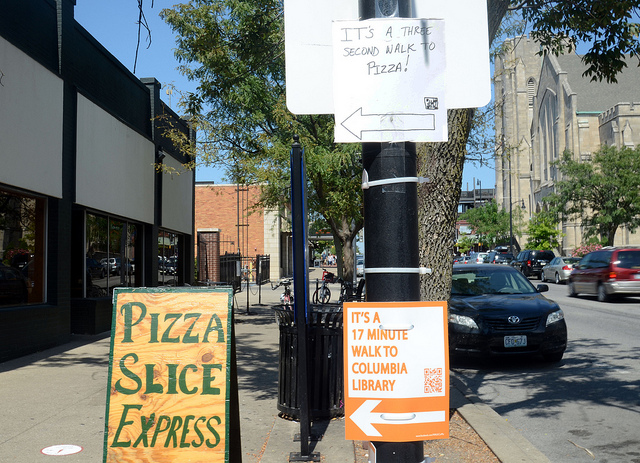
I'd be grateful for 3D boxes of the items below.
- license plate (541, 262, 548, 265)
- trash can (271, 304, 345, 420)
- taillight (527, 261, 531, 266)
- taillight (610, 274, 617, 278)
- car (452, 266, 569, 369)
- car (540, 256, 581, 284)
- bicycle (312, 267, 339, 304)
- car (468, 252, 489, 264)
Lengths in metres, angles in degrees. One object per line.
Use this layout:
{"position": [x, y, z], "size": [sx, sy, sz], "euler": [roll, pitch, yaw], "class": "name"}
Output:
{"position": [12.542, 1.850, 36.581], "size": [0.330, 0.098, 0.207], "euler": [0, -42, 9], "class": "license plate"}
{"position": [-0.142, 1.670, 8.308], "size": [0.861, 1.513, 0.765], "euler": [-1, -3, -2], "class": "trash can"}
{"position": [11.791, 1.815, 36.889], "size": [0.085, 0.252, 0.240], "euler": [0, -3, -24], "class": "taillight"}
{"position": [9.843, 1.487, 21.933], "size": [0.209, 0.127, 0.062], "euler": [-3, -3, 24], "class": "taillight"}
{"position": [3.273, 1.489, 12.097], "size": [1.235, 1.010, 2.574], "euler": [-1, -9, 0], "class": "car"}
{"position": [12.201, 1.951, 32.919], "size": [1.400, 1.238, 3.646], "euler": [0, 3, 1], "class": "car"}
{"position": [0.171, 2.036, 23.539], "size": [0.781, 1.191, 1.779], "euler": [1, -2, 11], "class": "bicycle"}
{"position": [11.364, 1.899, 46.828], "size": [0.901, 0.890, 2.106], "euler": [0, 3, 7], "class": "car"}
